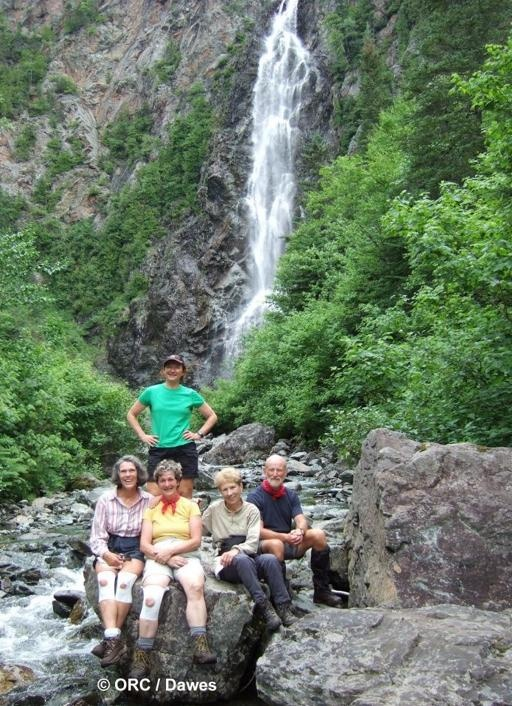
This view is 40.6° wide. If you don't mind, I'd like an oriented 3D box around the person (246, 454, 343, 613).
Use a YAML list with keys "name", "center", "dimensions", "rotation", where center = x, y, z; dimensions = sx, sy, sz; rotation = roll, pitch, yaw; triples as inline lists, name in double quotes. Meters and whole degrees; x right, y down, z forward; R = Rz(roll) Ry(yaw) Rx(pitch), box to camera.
- name: "person"
  center: [0.206, 1.346, 5.262]
  dimensions: [0.532, 1.081, 0.681]
  rotation: [-2, -5, -32]

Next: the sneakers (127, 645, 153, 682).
- name: "sneakers"
  center: [-0.733, 1.939, 4.398]
  dimensions: [0.120, 0.188, 0.208]
  rotation: [5, 5, -5]

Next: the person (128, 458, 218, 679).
- name: "person"
  center: [-0.551, 1.423, 4.755]
  dimensions: [0.509, 1.163, 1.118]
  rotation: [5, 5, -9]

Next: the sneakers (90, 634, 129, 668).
- name: "sneakers"
  center: [-0.936, 1.895, 4.405]
  dimensions: [0.115, 0.147, 0.332]
  rotation: [-16, -32, 4]
